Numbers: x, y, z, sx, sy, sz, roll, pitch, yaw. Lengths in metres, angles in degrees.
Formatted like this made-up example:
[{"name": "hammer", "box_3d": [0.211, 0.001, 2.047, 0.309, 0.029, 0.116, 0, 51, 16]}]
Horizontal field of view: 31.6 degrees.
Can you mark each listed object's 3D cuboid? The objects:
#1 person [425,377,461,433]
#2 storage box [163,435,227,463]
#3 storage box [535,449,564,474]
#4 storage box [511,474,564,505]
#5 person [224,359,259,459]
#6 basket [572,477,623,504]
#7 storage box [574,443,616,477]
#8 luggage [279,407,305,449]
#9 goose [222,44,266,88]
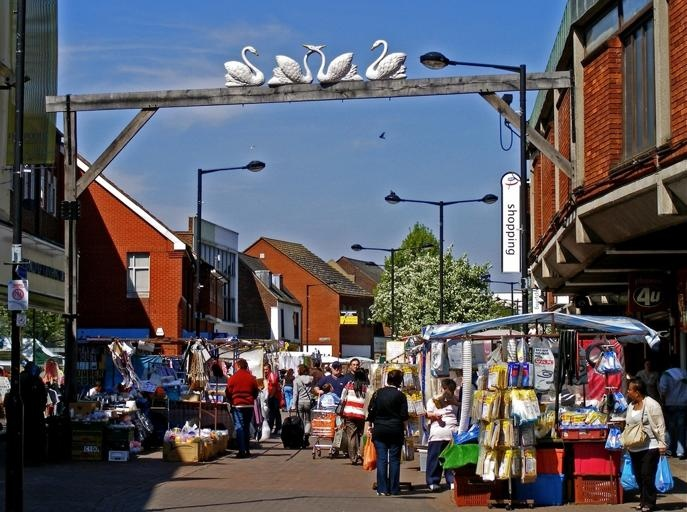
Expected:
[{"name": "person", "box_3d": [2.057, 3.111, 25.629, 0.577, 1.170, 0.639, -2, -4, 10]}, {"name": "storage box", "box_3d": [-3.494, 4.653, 29.357, 1.331, 0.648, 1.566, 4, -5, 24]}, {"name": "storage box", "box_3d": [4.054, 4.009, 23.714, 0.447, 0.478, 0.477, 0, -5, 2]}, {"name": "storage box", "box_3d": [3.849, 4.558, 23.781, 1.008, 0.607, 0.160, 1, -11, -11]}, {"name": "person", "box_3d": [-2.540, 3.759, 30.206, 0.783, 2.427, 0.980, 0, -11, -6]}, {"name": "basket", "box_3d": [4.950, 4.600, 23.916, 0.840, 0.593, 0.503, 0, -11, -2]}, {"name": "storage box", "box_3d": [4.963, 4.014, 24.015, 0.609, 0.433, 0.660, 0, -6, 6]}, {"name": "luggage", "box_3d": [-1.381, 4.739, 32.834, 0.532, 0.865, 0.794, 0, -12, -2]}, {"name": "goose", "box_3d": [-2.452, -4.664, 29.817, 0.918, 1.014, 0.583, -1, -11, -1]}]
